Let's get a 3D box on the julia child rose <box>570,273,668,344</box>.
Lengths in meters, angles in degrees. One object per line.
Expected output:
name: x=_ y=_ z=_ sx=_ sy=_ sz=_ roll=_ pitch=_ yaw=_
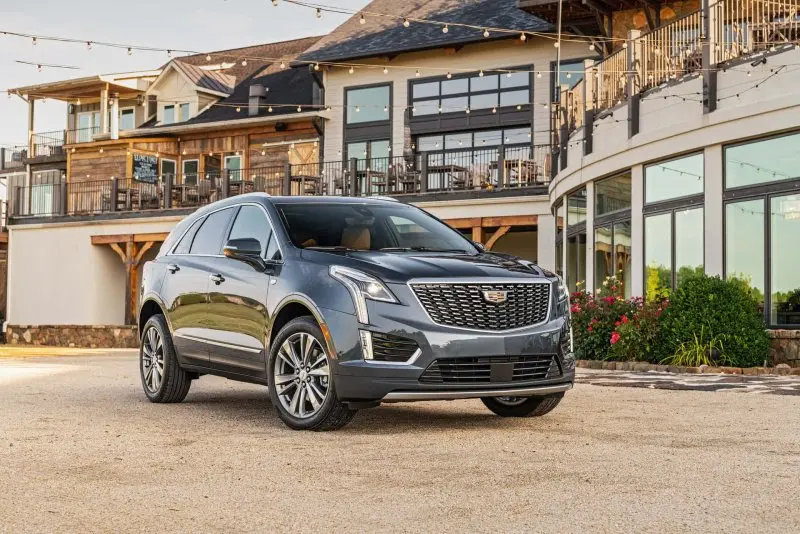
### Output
julia child rose: x=4.101 y=0.988 z=19.658 sx=1.203 sy=1.274 sz=2.551 roll=-1 pitch=3 yaw=-12

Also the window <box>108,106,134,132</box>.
window: x=-11.717 y=-6.268 z=42.637 sx=1.528 sy=1.430 sz=0.157 roll=-4 pitch=-8 yaw=35

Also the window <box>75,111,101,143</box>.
window: x=-13.601 y=-6.142 z=44.292 sx=1.819 sy=1.903 sz=0.155 roll=-6 pitch=-9 yaw=38
